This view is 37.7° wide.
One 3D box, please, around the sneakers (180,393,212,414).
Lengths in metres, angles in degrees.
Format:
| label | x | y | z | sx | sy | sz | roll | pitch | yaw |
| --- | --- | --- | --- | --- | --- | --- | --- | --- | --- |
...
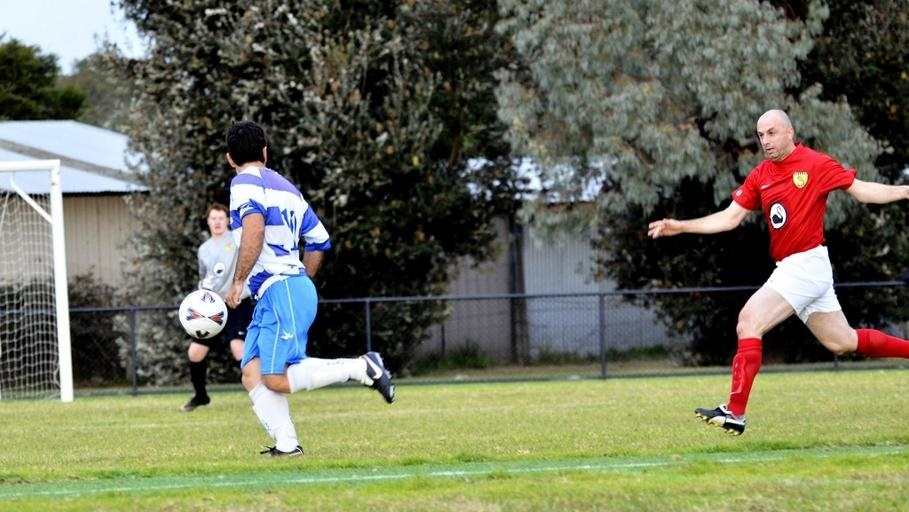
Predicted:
| label | x | y | z | sx | sy | sz | roll | pitch | yaw |
| --- | --- | --- | --- | --- | --- | --- | --- | --- | --- |
| sneakers | -5.066 | 2.843 | 26.112 | 0.651 | 0.279 | 0.216 | -3 | 4 | -31 |
